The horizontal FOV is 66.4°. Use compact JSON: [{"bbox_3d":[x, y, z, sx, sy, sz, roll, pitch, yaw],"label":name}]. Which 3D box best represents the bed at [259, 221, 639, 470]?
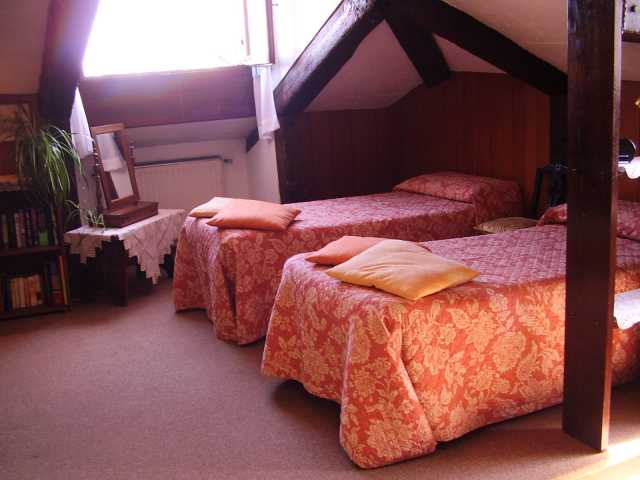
[{"bbox_3d":[0.666,0.356,2.181,1.374,0.480,0.894,-14,24,-26],"label":"bed"}]

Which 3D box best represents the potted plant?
[{"bbox_3d":[-1.939,-0.472,3.592,0.501,0.827,0.374,-11,9,-40],"label":"potted plant"}]

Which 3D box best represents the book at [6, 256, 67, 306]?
[{"bbox_3d":[-2.134,0.317,3.661,0.306,0.322,0.213,-3,6,-15],"label":"book"}]

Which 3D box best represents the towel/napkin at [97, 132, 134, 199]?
[{"bbox_3d":[-1.656,-0.585,3.956,0.299,0.607,0.047,-6,11,18],"label":"towel/napkin"}]

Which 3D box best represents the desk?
[{"bbox_3d":[-1.505,0.075,3.944,0.473,0.469,0.924,3,15,14],"label":"desk"}]

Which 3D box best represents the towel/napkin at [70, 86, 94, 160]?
[{"bbox_3d":[-1.880,-0.964,3.790,0.091,0.370,0.116,-6,-10,10],"label":"towel/napkin"}]
